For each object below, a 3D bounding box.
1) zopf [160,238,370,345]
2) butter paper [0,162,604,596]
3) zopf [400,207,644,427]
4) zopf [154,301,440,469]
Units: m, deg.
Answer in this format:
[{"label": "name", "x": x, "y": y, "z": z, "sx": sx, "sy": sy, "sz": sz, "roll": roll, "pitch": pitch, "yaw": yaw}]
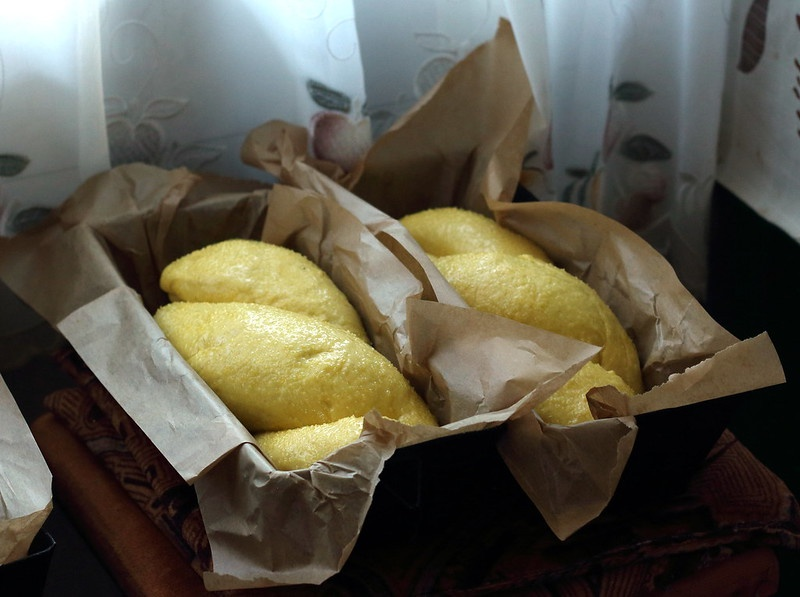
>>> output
[{"label": "zopf", "x": -0.120, "y": -0.014, "z": 0.639, "sx": 0.159, "sy": 0.057, "sz": 0.092, "roll": 27, "pitch": 46, "yaw": 14}, {"label": "butter paper", "x": -0.139, "y": 0.057, "z": 0.611, "sx": 0.348, "sy": 0.136, "sz": 0.395, "roll": -17, "pitch": 48, "yaw": -26}, {"label": "zopf", "x": 0.095, "y": 0.024, "z": 0.669, "sx": 0.125, "sy": 0.068, "sz": 0.232, "roll": -18, "pitch": 46, "yaw": -37}, {"label": "zopf", "x": -0.078, "y": 0.058, "z": 0.555, "sx": 0.202, "sy": 0.070, "sz": 0.112, "roll": 24, "pitch": 47, "yaw": 14}]
